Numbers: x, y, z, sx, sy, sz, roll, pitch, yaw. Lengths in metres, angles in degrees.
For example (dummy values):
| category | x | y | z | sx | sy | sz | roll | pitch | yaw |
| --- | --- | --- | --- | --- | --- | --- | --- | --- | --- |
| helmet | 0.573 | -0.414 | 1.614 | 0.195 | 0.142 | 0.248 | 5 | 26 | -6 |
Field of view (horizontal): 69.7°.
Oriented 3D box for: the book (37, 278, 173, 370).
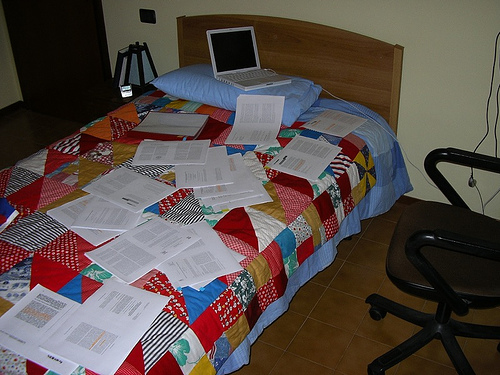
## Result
| category | x | y | z | sx | sy | sz | roll | pitch | yaw |
| --- | --- | --- | --- | --- | --- | --- | --- | --- | --- |
| book | -0.489 | 0.464 | 1.247 | 0.299 | 0.038 | 0.327 | 17 | 38 | 16 |

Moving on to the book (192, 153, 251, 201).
| category | x | y | z | sx | sy | sz | roll | pitch | yaw |
| --- | --- | --- | --- | --- | --- | --- | --- | --- | --- |
| book | -0.137 | -0.074 | 1.941 | 0.388 | 0.003 | 0.411 | -8 | 49 | 17 |

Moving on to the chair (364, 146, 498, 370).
| category | x | y | z | sx | sy | sz | roll | pitch | yaw |
| --- | --- | --- | --- | --- | --- | --- | --- | --- | --- |
| chair | 0.898 | 0.367 | 1.786 | 0.723 | 0.922 | 0.622 | 10 | 55 | 19 |

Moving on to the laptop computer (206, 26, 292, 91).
| category | x | y | z | sx | sy | sz | roll | pitch | yaw |
| --- | --- | --- | --- | --- | --- | --- | --- | --- | --- |
| laptop computer | -0.004 | -0.927 | 2.548 | 0.483 | 0.315 | 0.511 | -14 | 36 | -26 |

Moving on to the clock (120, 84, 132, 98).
| category | x | y | z | sx | sy | sz | roll | pitch | yaw |
| --- | --- | --- | --- | --- | --- | --- | --- | --- | --- |
| clock | -1.042 | -0.821 | 3.044 | 0.089 | 0.037 | 0.112 | -1 | 77 | -1 |
